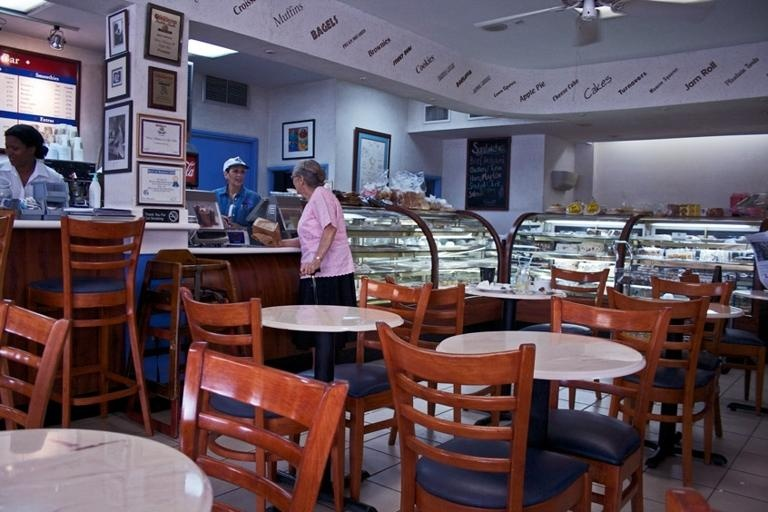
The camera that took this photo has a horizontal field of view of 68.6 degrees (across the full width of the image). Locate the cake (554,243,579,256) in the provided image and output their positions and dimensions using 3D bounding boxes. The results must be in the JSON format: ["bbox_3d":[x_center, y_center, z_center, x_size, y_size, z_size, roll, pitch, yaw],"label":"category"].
[{"bbox_3d":[2.167,-0.072,6.662,0.263,0.127,0.066,5,1,29],"label":"cake"}]

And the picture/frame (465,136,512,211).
[{"bbox_3d":[1.867,-1.442,10.058,0.870,1.274,0.130,9,9,43],"label":"picture/frame"}]

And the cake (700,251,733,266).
[{"bbox_3d":[3.621,0.009,6.125,0.312,0.141,0.066,4,7,13],"label":"cake"}]

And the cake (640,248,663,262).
[{"bbox_3d":[3.013,-0.009,6.323,0.252,0.130,0.165,3,-4,7],"label":"cake"}]

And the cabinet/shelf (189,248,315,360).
[{"bbox_3d":[-1.303,0.436,4.773,0.761,0.967,1.094,-6,-9,28],"label":"cabinet/shelf"}]

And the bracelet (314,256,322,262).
[{"bbox_3d":[-0.493,0.017,4.245,0.054,0.035,0.029,0,7,-16],"label":"bracelet"}]

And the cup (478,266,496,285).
[{"bbox_3d":[0.924,0.163,4.931,0.165,0.142,0.134,-3,6,-32],"label":"cup"}]

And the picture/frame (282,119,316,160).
[{"bbox_3d":[-1.370,-1.811,8.905,0.048,0.603,0.689,17,24,34],"label":"picture/frame"}]

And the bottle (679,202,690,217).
[{"bbox_3d":[3.541,-0.534,6.596,0.179,0.168,0.131,0,4,24],"label":"bottle"}]

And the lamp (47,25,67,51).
[{"bbox_3d":[-3.407,-2.264,5.835,0.113,0.241,0.233,-3,9,-38],"label":"lamp"}]

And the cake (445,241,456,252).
[{"bbox_3d":[0.752,-0.110,6.326,0.118,0.109,0.034,11,-19,-18],"label":"cake"}]

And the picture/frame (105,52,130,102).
[{"bbox_3d":[-2.096,-1.399,4.429,0.435,0.411,0.032,7,7,39],"label":"picture/frame"}]

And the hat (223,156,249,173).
[{"bbox_3d":[-1.655,-0.997,6.218,0.201,0.159,0.313,-1,7,-24],"label":"hat"}]

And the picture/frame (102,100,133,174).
[{"bbox_3d":[-2.112,-0.937,4.473,0.616,0.640,0.047,7,4,44],"label":"picture/frame"}]

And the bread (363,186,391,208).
[{"bbox_3d":[-0.079,-0.617,6.017,0.319,0.221,0.115,15,-10,-30],"label":"bread"}]

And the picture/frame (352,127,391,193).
[{"bbox_3d":[-0.187,-1.533,9.133,0.198,0.977,0.895,6,8,30],"label":"picture/frame"}]

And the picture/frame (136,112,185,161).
[{"bbox_3d":[-1.786,-0.935,4.438,0.436,0.346,0.032,-3,2,-43],"label":"picture/frame"}]

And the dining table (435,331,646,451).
[{"bbox_3d":[0.787,0.507,2.645,0.700,0.401,0.681,0,9,-5],"label":"dining table"}]

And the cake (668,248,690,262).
[{"bbox_3d":[3.294,-0.007,6.261,0.261,0.130,0.077,5,-3,16],"label":"cake"}]

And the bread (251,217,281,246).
[{"bbox_3d":[-1.036,-0.206,4.963,0.259,0.137,0.242,28,12,1],"label":"bread"}]

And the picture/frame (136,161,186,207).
[{"bbox_3d":[-1.794,-0.568,4.462,0.412,0.335,0.041,-1,1,-44],"label":"picture/frame"}]
